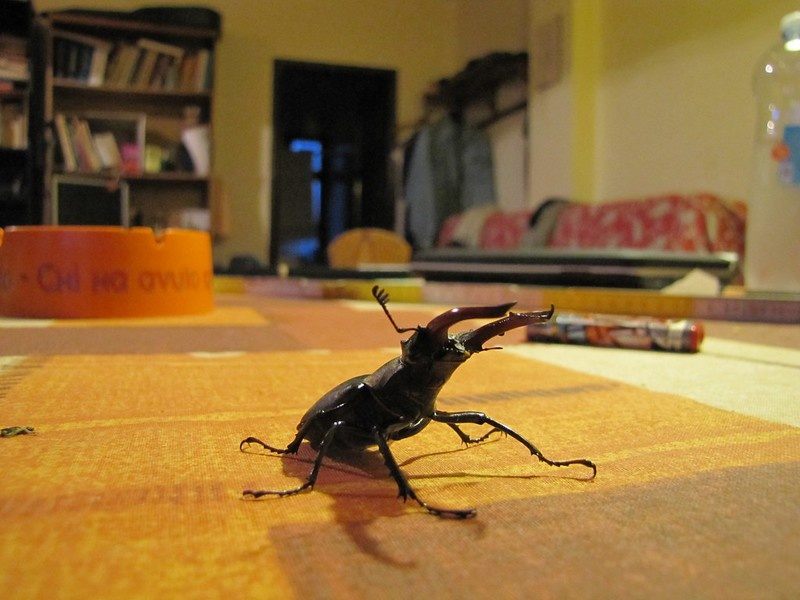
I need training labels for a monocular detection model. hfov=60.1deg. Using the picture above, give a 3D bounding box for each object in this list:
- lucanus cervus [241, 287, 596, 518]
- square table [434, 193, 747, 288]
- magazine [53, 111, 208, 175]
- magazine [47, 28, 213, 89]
[{"bbox_3d":[0.003,0.066,0.501,0.248,0.132,0.242,-3,-4,40],"label":"lucanus cervus"},{"bbox_3d":[0.446,-0.152,1.795,0.806,0.247,0.775,6,12,27],"label":"square table"},{"bbox_3d":[-1.076,-0.624,2.748,0.386,0.148,0.293,-1,13,-17],"label":"magazine"},{"bbox_3d":[-1.032,-0.930,2.679,0.584,0.218,0.182,-3,12,-19],"label":"magazine"}]
